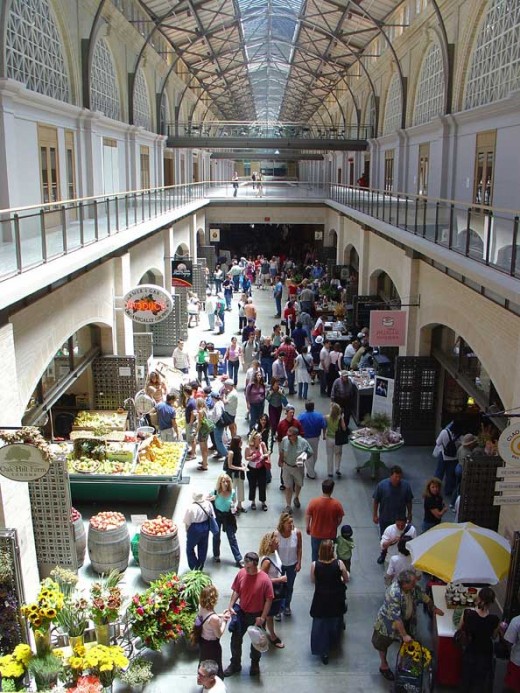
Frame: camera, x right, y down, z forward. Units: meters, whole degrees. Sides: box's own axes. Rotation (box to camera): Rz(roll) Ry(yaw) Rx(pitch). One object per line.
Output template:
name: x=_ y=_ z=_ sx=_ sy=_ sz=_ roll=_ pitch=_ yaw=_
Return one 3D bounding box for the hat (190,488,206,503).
hat: x=-0.740 y=1.807 z=5.941 sx=0.135 sy=0.135 sz=0.269 roll=3 pitch=6 yaw=10

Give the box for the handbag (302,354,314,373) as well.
handbag: x=1.316 y=0.451 z=13.664 sx=0.232 sy=0.590 sz=0.406 roll=-19 pitch=-2 yaw=4

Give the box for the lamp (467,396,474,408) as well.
lamp: x=4.801 y=1.291 z=11.239 sx=0.120 sy=0.218 sz=0.277 roll=3 pitch=5 yaw=14

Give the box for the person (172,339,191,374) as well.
person: x=-2.304 y=0.317 z=14.389 sx=0.463 sy=1.001 sz=1.278 roll=1 pitch=5 yaw=-8

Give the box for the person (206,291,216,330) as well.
person: x=-2.157 y=-1.484 z=21.633 sx=0.413 sy=1.735 sz=0.804 roll=1 pitch=5 yaw=-5

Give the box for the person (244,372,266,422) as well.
person: x=-0.071 y=1.244 z=10.689 sx=0.530 sy=1.486 sz=0.463 roll=3 pitch=15 yaw=-1

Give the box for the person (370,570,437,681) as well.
person: x=1.292 y=2.468 z=4.438 sx=0.556 sy=1.122 sz=0.457 roll=-8 pitch=18 yaw=-15

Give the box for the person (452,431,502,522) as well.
person: x=2.720 y=1.824 z=6.052 sx=0.655 sy=1.051 sz=0.281 roll=1 pitch=5 yaw=-8

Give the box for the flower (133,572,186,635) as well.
flower: x=-0.957 y=2.445 z=4.666 sx=0.453 sy=0.439 sz=0.274 roll=-6 pitch=-12 yaw=-26

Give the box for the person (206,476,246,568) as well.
person: x=-0.428 y=2.255 z=6.375 sx=0.503 sy=1.177 sz=0.420 roll=3 pitch=5 yaw=22

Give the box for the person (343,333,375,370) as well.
person: x=2.822 y=0.189 z=13.977 sx=0.336 sy=0.315 sz=0.999 roll=-10 pitch=-25 yaw=-8

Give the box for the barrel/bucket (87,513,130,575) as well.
barrel/bucket: x=-1.970 y=2.592 z=6.346 sx=0.521 sy=0.755 sz=0.420 roll=0 pitch=5 yaw=-18

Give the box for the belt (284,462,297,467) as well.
belt: x=0.478 y=1.840 z=7.666 sx=0.108 sy=0.047 sz=0.112 roll=3 pitch=11 yaw=8

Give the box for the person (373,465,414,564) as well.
person: x=1.760 y=2.261 z=6.543 sx=0.465 sy=1.513 sz=0.457 roll=-2 pitch=22 yaw=6

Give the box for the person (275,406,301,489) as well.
person: x=0.508 y=1.738 z=8.330 sx=0.400 sy=1.437 sz=0.416 roll=-2 pitch=8 yaw=-13

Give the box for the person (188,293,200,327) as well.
person: x=-3.208 y=-1.741 z=23.691 sx=0.576 sy=1.608 sz=2.337 roll=1 pitch=5 yaw=-7

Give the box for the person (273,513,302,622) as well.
person: x=0.267 y=2.310 z=5.160 sx=0.299 sy=1.044 sz=0.316 roll=1 pitch=2 yaw=-2

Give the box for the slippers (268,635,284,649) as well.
slippers: x=0.170 y=3.013 z=5.000 sx=0.067 sy=0.068 sz=0.160 roll=-4 pitch=8 yaw=-30

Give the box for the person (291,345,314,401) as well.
person: x=1.182 y=0.713 z=13.785 sx=0.554 sy=1.500 sz=0.455 roll=3 pitch=15 yaw=3

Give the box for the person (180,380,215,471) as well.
person: x=-1.293 y=1.603 z=9.862 sx=0.547 sy=1.604 sz=1.176 roll=1 pitch=5 yaw=-9

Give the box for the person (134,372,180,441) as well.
person: x=-2.107 y=1.195 z=9.881 sx=0.786 sy=1.189 sz=1.605 roll=0 pitch=6 yaw=-15

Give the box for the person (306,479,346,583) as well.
person: x=0.743 y=2.149 z=5.835 sx=0.406 sy=1.309 sz=0.334 roll=0 pitch=20 yaw=-1

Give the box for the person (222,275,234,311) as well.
person: x=-1.789 y=-2.810 z=26.356 sx=0.475 sy=1.889 sz=1.432 roll=1 pitch=5 yaw=-5

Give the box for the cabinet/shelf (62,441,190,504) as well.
cabinet/shelf: x=-2.162 y=2.087 z=8.071 sx=1.207 sy=0.375 sz=1.283 roll=0 pitch=15 yaw=-1

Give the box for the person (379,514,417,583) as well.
person: x=1.593 y=2.436 z=5.743 sx=0.407 sy=1.161 sz=0.323 roll=-9 pitch=27 yaw=-5

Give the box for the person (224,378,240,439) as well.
person: x=-0.609 y=1.247 z=9.778 sx=0.258 sy=1.165 sz=0.428 roll=1 pitch=5 yaw=-4

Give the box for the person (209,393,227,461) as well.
person: x=-0.843 y=1.612 z=9.870 sx=0.471 sy=1.568 sz=0.510 roll=6 pitch=37 yaw=4

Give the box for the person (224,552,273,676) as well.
person: x=-0.099 y=2.323 z=4.246 sx=0.359 sy=1.098 sz=0.315 roll=4 pitch=4 yaw=0

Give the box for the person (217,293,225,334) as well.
person: x=-1.756 y=-1.401 z=21.669 sx=0.362 sy=1.736 sz=1.220 roll=1 pitch=5 yaw=-5

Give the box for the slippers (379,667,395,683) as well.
slippers: x=1.168 y=3.002 z=4.502 sx=0.049 sy=0.060 sz=0.140 roll=-5 pitch=25 yaw=-12

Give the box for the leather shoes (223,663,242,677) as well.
leather shoes: x=-0.264 y=2.992 z=4.544 sx=0.145 sy=0.154 sz=0.074 roll=6 pitch=1 yaw=-3

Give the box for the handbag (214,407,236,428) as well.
handbag: x=-0.725 y=1.381 z=9.644 sx=0.372 sy=0.576 sz=0.235 roll=-1 pitch=31 yaw=7

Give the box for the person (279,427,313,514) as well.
person: x=0.521 y=1.948 z=7.782 sx=0.468 sy=1.389 sz=0.458 roll=3 pitch=13 yaw=15

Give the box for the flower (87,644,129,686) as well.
flower: x=-1.220 y=2.523 z=3.868 sx=0.290 sy=0.289 sz=0.357 roll=-1 pitch=6 yaw=-25

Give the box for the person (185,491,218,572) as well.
person: x=-0.748 y=2.249 z=6.042 sx=0.379 sy=1.087 sz=0.306 roll=2 pitch=6 yaw=-20

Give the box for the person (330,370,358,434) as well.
person: x=1.855 y=1.177 z=11.081 sx=0.508 sy=1.433 sz=0.380 roll=0 pitch=26 yaw=8

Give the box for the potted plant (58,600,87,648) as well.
potted plant: x=-1.569 y=2.264 z=4.120 sx=0.235 sy=0.471 sz=0.342 roll=0 pitch=6 yaw=-21

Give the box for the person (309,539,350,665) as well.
person: x=0.638 y=2.384 z=4.662 sx=0.351 sy=1.132 sz=0.284 roll=-2 pitch=6 yaw=-9

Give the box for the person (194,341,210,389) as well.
person: x=-1.680 y=0.577 z=14.154 sx=0.446 sy=1.475 sz=0.441 roll=1 pitch=21 yaw=-4

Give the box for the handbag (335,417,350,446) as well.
handbag: x=1.507 y=1.602 z=9.168 sx=0.260 sy=0.646 sz=0.559 roll=2 pitch=5 yaw=9
